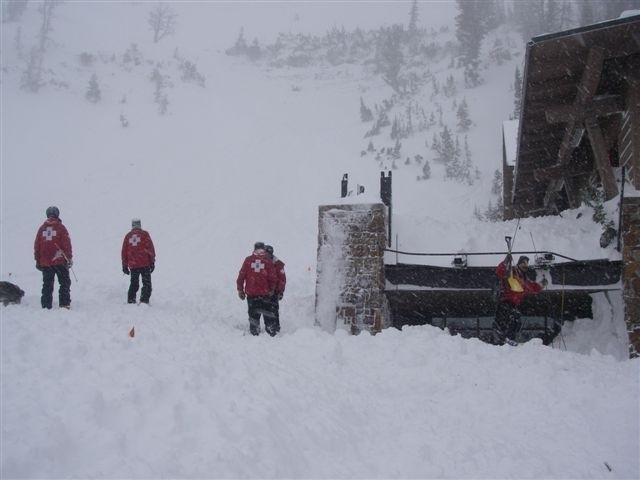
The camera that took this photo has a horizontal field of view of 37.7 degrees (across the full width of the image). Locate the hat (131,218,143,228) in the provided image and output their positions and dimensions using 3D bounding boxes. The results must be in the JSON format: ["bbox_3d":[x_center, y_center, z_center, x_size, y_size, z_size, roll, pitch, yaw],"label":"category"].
[{"bbox_3d":[-11.208,-0.969,56.865,0.567,0.624,0.618,-5,10,-30],"label":"hat"}]

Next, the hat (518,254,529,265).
[{"bbox_3d":[12.087,1.198,55.873,0.506,0.585,0.429,3,-2,35],"label":"hat"}]
